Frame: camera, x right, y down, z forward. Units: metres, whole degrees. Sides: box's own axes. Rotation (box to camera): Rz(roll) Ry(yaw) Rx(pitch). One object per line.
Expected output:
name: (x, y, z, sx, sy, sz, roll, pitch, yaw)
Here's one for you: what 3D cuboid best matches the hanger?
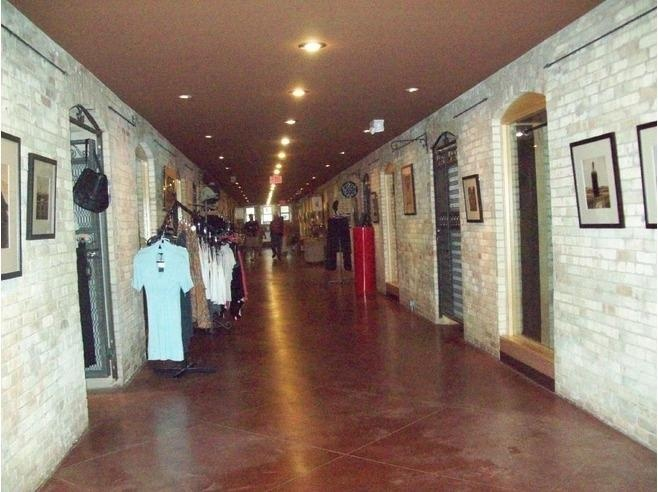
hanger: (-1.959, -0.276, 7.243, 0.726, 0.514, 1.030, -2, -1, -3)
